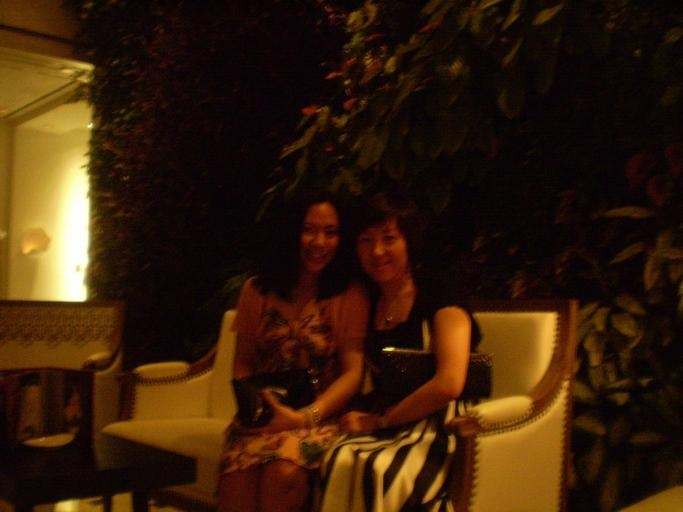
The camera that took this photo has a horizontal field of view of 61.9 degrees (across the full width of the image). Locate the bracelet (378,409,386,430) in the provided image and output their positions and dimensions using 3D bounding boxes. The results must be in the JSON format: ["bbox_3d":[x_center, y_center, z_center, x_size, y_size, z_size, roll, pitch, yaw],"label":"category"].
[{"bbox_3d":[0.165,0.687,2.364,0.055,0.062,0.048,3,-20,-3],"label":"bracelet"}]

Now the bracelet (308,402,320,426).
[{"bbox_3d":[-0.123,0.692,2.448,0.048,0.066,0.067,2,-36,-6],"label":"bracelet"}]

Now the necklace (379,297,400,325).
[{"bbox_3d":[0.197,0.247,2.557,0.065,0.104,0.026,-14,-26,24],"label":"necklace"}]
